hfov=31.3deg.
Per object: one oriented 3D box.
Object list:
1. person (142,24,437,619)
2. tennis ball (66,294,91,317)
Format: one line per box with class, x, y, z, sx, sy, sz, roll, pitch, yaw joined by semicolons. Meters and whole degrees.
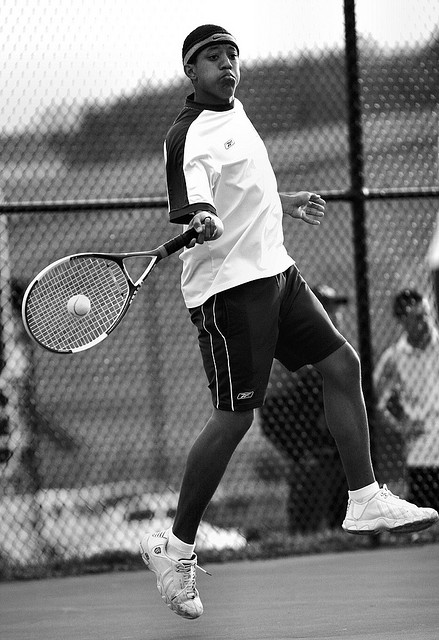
person;0.069;-0.049;1.945;0.713;1.318;0.505;-10;15;-9
tennis ball;-0.338;-0.033;1.869;0.049;0.056;0.060;-16;17;-26
